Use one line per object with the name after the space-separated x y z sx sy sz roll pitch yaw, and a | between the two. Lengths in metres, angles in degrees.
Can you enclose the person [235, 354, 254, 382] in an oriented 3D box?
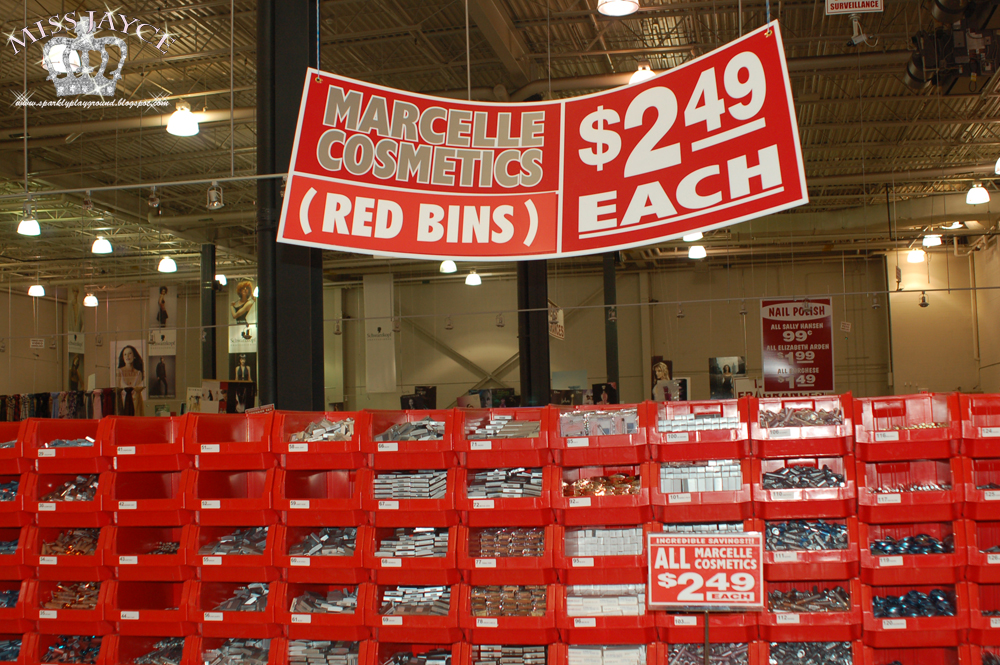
-6.441 0.887 29.363 0.505 0.946 0.515 1 -6 -11 | person
